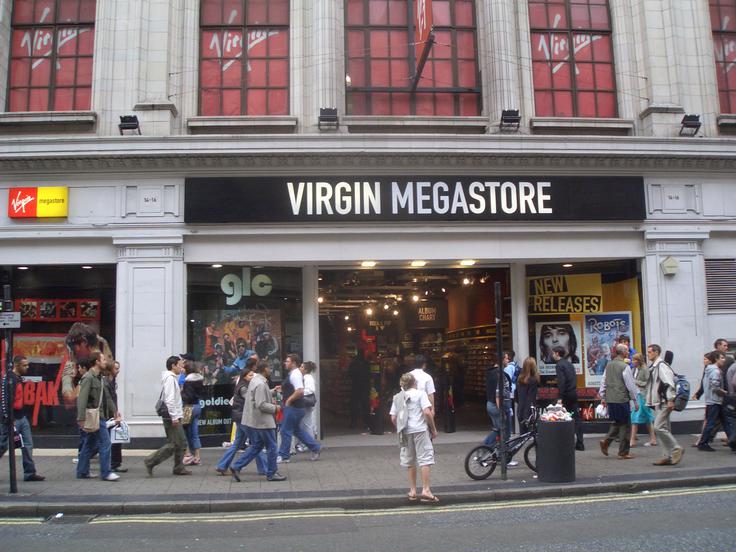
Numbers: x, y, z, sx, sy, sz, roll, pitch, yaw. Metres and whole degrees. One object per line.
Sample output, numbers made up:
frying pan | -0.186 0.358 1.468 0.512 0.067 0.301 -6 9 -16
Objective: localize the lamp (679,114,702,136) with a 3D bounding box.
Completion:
lamp | 8.759 -4.072 26.864 0.424 0.303 0.722 2 -13 5

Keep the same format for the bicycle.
bicycle | 3.173 3.736 21.734 2.322 1.413 1.059 1 4 -30

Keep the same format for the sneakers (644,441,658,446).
sneakers | 7.069 4.197 24.635 0.391 0.167 0.121 3 -11 10

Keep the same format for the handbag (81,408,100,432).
handbag | -6.017 3.103 21.274 0.486 0.502 0.260 1 -10 -11

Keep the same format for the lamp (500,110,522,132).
lamp | 3.787 -4.173 26.517 0.598 0.572 0.548 2 16 0

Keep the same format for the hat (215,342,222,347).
hat | -3.982 1.837 26.182 0.115 0.148 0.135 2 12 8

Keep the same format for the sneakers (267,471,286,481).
sneakers | -2.011 4.395 21.586 0.408 0.173 0.290 -1 -5 -4

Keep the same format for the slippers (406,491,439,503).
slippers | 1.100 4.473 20.035 0.668 0.180 0.241 -1 -9 11

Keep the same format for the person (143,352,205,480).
person | -4.474 3.144 22.214 0.831 2.665 0.897 -2 -5 1

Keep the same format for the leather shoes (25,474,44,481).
leather shoes | -7.309 4.424 21.632 0.413 0.164 0.149 1 0 -13

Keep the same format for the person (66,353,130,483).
person | -5.940 3.090 21.678 0.883 2.811 0.787 0 -5 -15

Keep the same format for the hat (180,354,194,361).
hat | -4.283 1.883 23.068 0.262 0.135 0.190 23 3 8

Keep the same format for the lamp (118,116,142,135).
lamp | -6.257 -3.902 25.792 0.515 0.709 0.528 0 -41 -6

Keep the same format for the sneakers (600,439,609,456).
sneakers | 5.580 4.046 23.266 0.147 0.433 0.192 2 29 46

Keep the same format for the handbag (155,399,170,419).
handbag | -4.647 3.086 22.145 0.325 0.632 0.654 -1 -8 -17
